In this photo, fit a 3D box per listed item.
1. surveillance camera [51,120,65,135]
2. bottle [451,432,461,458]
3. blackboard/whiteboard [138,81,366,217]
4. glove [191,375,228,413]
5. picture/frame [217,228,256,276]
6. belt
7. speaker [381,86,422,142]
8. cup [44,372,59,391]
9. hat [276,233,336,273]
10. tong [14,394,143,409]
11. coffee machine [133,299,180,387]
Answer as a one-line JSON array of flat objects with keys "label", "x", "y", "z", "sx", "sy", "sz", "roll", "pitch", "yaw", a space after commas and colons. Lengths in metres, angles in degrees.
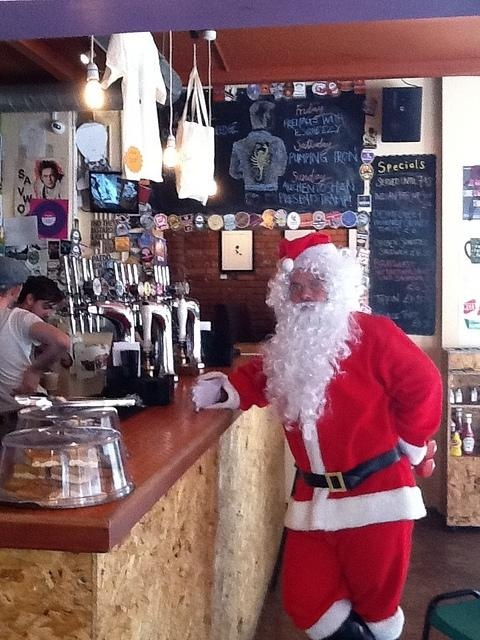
[{"label": "surveillance camera", "x": -1.002, "y": -1.076, "z": 3.215, "sx": 0.078, "sy": 0.073, "sz": 0.052, "roll": 7, "pitch": -10, "yaw": -31}, {"label": "bottle", "x": 1.477, "y": 0.850, "z": 3.964, "sx": 0.078, "sy": 0.158, "sz": 0.182, "roll": -2, "pitch": -9, "yaw": 20}, {"label": "blackboard/whiteboard", "x": 0.180, "y": -1.250, "z": 4.382, "sx": 1.545, "sy": 0.846, "sz": 0.016, "roll": 6, "pitch": 12, "yaw": 30}, {"label": "glove", "x": -0.086, "y": 0.225, "z": 1.789, "sx": 0.101, "sy": 0.081, "sz": 0.035, "roll": -2, "pitch": -7, "yaw": -45}, {"label": "picture/frame", "x": -0.021, "y": -0.547, "z": 4.471, "sx": 0.374, "sy": 0.421, "sz": 0.033, "roll": 0, "pitch": 10, "yaw": 0}, {"label": "belt", "x": 0.333, "y": 0.446, "z": 1.742, "sx": 0.309, "sy": 0.135, "sz": 0.124, "roll": -1, "pitch": -9, "yaw": 13}, {"label": "speaker", "x": 1.141, "y": -1.461, "z": 4.099, "sx": 0.304, "sy": 0.386, "sz": 0.096, "roll": -1, "pitch": 14, "yaw": 3}, {"label": "cup", "x": -0.732, "y": 0.242, "z": 2.253, "sx": 0.065, "sy": 0.064, "sz": 0.063, "roll": 2, "pitch": -6, "yaw": 0}, {"label": "hat", "x": 0.219, "y": -0.240, "z": 1.993, "sx": 0.175, "sy": 0.087, "sz": 0.122, "roll": -30, "pitch": -7, "yaw": -6}, {"label": "tong", "x": -0.283, "y": 0.160, "z": 1.117, "sx": 0.201, "sy": 0.022, "sz": 0.340, "roll": -1, "pitch": -9, "yaw": 17}, {"label": "coffee machine", "x": -0.274, "y": 0.066, "z": 1.941, "sx": 0.136, "sy": 0.272, "sz": 0.370, "roll": 3, "pitch": -9, "yaw": -7}]
